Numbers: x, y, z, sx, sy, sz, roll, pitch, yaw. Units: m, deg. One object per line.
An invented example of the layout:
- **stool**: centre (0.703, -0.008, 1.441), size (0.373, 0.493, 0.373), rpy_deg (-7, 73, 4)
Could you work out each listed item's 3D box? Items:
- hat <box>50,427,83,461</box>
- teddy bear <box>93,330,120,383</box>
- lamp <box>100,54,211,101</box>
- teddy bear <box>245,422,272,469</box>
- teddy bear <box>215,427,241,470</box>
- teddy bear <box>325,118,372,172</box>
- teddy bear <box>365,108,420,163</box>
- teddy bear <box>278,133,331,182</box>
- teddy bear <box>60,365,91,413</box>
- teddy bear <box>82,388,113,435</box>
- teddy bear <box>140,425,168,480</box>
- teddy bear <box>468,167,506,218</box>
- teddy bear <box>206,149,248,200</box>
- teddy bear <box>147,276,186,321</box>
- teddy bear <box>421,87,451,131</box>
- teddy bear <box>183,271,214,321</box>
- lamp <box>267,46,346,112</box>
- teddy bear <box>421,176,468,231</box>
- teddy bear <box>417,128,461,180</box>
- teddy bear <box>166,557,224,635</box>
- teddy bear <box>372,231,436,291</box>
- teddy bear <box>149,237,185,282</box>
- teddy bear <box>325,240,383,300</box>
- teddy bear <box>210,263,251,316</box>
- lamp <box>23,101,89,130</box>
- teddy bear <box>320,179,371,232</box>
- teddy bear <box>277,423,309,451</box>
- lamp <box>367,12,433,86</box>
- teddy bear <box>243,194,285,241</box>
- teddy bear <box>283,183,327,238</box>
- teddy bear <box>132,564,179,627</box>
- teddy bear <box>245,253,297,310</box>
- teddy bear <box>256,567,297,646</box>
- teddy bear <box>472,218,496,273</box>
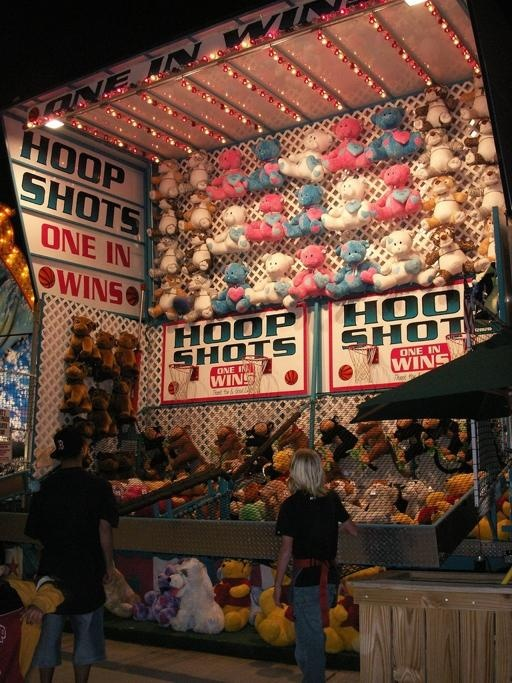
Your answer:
- **hat**: centre (-0.934, 0.503, 2.973), size (0.141, 0.130, 0.186), rpy_deg (-4, -15, -21)
- **teddy bear**: centre (-1.821, 0.171, 7.316), size (0.379, 0.756, 0.539), rpy_deg (-2, -51, -10)
- **lamp**: centre (-1.087, -2.808, 6.396), size (1.394, 0.178, 0.120), rpy_deg (-17, 0, 37)
- **teddy bear**: centre (0.023, 1.102, 6.739), size (0.387, 0.454, 0.325), rpy_deg (2, -38, -1)
- **teddy bear**: centre (-0.363, 1.210, 7.017), size (0.336, 0.583, 0.292), rpy_deg (1, 15, -14)
- **teddy bear**: centre (1.151, -2.394, 7.328), size (0.604, 0.693, 0.380), rpy_deg (-10, -16, 35)
- **teddy bear**: centre (1.608, -2.409, 7.060), size (0.624, 0.619, 0.407), rpy_deg (-5, -13, 19)
- **teddy bear**: centre (0.622, -2.286, 7.568), size (0.597, 0.573, 0.530), rpy_deg (33, 27, 30)
- **teddy bear**: centre (-2.087, 0.553, 7.028), size (0.291, 0.555, 0.475), rpy_deg (-1, -12, 3)
- **teddy bear**: centre (-1.852, 0.819, 7.130), size (0.306, 0.426, 0.503), rpy_deg (0, -55, -9)
- **teddy bear**: centre (-1.290, 1.401, 7.568), size (0.457, 0.717, 0.245), rpy_deg (-3, -34, 3)
- **teddy bear**: centre (2.413, -1.565, 6.338), size (0.229, 0.531, 0.579), rpy_deg (1, -12, -8)
- **teddy bear**: centre (-0.348, -2.256, 8.247), size (0.418, 0.673, 0.694), rpy_deg (8, -15, -34)
- **teddy bear**: centre (-1.242, -0.598, 8.480), size (0.653, 0.645, 0.432), rpy_deg (6, -2, 45)
- **teddy bear**: centre (1.999, -2.604, 6.737), size (0.267, 0.496, 0.220), rpy_deg (-5, -14, 17)
- **teddy bear**: centre (-0.764, -0.621, 8.235), size (0.291, 0.633, 0.413), rpy_deg (5, -14, -24)
- **lamp**: centre (0.573, -3.042, 6.946), size (1.013, 0.064, 0.110), rpy_deg (22, -51, -34)
- **teddy bear**: centre (2.051, -1.501, 6.650), size (0.521, 0.555, 0.448), rpy_deg (-7, -14, 25)
- **teddy bear**: centre (2.001, -2.080, 6.714), size (0.485, 0.489, 0.330), rpy_deg (-8, -14, 29)
- **teddy bear**: centre (-0.415, 1.850, 4.452), size (0.433, 0.507, 0.374), rpy_deg (-5, -6, 33)
- **teddy bear**: centre (1.671, -0.888, 6.732), size (0.733, 0.586, 0.353), rpy_deg (-9, 2, 18)
- **teddy bear**: centre (-1.254, -1.157, 8.617), size (0.416, 0.602, 0.457), rpy_deg (18, -32, -29)
- **teddy bear**: centre (1.158, -0.819, 7.035), size (0.725, 0.600, 0.395), rpy_deg (-10, 6, 6)
- **teddy bear**: centre (-0.298, -0.738, 7.985), size (0.457, 0.731, 0.604), rpy_deg (4, -13, -22)
- **lamp**: centre (-2.416, -2.579, 6.984), size (0.433, 0.093, 0.380), rpy_deg (13, -48, -23)
- **teddy bear**: centre (1.106, -1.661, 7.219), size (0.646, 0.677, 0.387), rpy_deg (-10, -16, 38)
- **teddy bear**: centre (0.385, 1.000, 6.420), size (0.322, 0.273, 0.371), rpy_deg (4, -13, -20)
- **lamp**: centre (1.504, -3.082, 6.322), size (0.769, 0.107, 0.106), rpy_deg (26, -39, -29)
- **teddy bear**: centre (0.150, -1.614, 7.811), size (0.541, 0.700, 0.455), rpy_deg (-5, -13, 19)
- **teddy bear**: centre (0.630, -1.662, 7.548), size (0.537, 0.741, 0.413), rpy_deg (-8, -15, 29)
- **teddy bear**: centre (-0.718, 1.994, 4.780), size (0.367, 0.427, 0.355), rpy_deg (12, -11, 11)
- **teddy bear**: centre (0.247, -0.730, 7.839), size (0.843, 0.782, 0.692), rpy_deg (3, 2, 35)
- **teddy bear**: centre (0.159, 1.798, 4.115), size (0.304, 0.389, 0.311), rpy_deg (7, -13, -19)
- **teddy bear**: centre (2.284, -0.950, 6.115), size (0.196, 0.599, 0.767), rpy_deg (-6, -13, 20)
